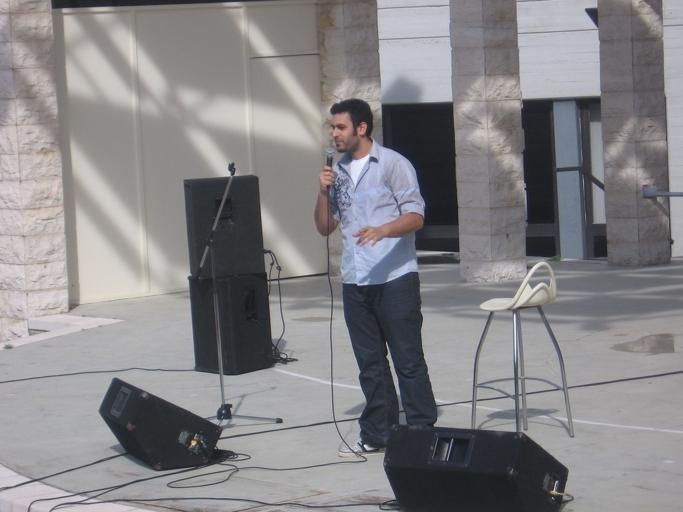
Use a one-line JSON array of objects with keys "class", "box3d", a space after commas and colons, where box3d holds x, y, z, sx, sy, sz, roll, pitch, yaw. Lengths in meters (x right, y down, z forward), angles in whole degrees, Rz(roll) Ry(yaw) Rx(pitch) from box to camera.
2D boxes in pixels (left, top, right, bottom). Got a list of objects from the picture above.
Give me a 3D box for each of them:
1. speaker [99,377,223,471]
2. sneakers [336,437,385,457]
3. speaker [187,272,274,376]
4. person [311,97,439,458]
[{"class": "speaker", "box3d": [-1.443, 1.346, 10.751, 0.821, 0.539, 0.831, 29, -7, 4]}, {"class": "sneakers", "box3d": [0.165, 1.572, 10.758, 0.405, 0.159, 0.144, 2, -1, 10]}, {"class": "speaker", "box3d": [-1.110, 0.699, 13.060, 0.788, 0.901, 0.770, -1, -4, -29]}, {"class": "person", "box3d": [0.343, 0.186, 10.622, 0.860, 2.915, 0.463, 0, 6, 12]}]
